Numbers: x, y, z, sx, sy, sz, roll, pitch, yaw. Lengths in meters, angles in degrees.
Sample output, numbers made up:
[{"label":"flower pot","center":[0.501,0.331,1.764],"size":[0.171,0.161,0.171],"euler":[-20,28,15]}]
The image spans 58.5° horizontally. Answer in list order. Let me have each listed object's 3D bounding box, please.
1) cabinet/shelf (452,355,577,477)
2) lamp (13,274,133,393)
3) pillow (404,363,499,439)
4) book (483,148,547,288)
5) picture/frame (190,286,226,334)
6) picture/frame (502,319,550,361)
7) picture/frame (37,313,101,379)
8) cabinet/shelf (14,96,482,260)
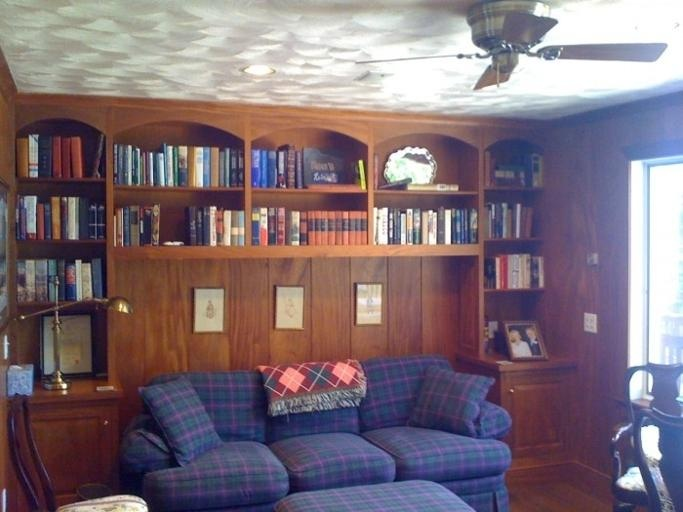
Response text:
[{"label":"cabinet/shelf","center":[1.580,1.252,5.453],"size":[1.121,1.383,0.880],"euler":[1,-2,-16]},{"label":"lamp","center":[-1.961,0.540,4.444],"size":[0.833,0.866,0.553],"euler":[-2,0,-17]},{"label":"pillow","center":[0.837,1.109,4.696],"size":[0.514,0.472,0.158],"euler":[5,-28,41]},{"label":"book","center":[1.489,-0.369,5.486],"size":[0.615,1.197,0.284],"euler":[-2,0,-23]},{"label":"picture/frame","center":[-1.092,0.432,4.924],"size":[0.386,0.526,0.042],"euler":[1,-1,-19]},{"label":"picture/frame","center":[1.584,0.733,5.281],"size":[0.364,0.379,0.039],"euler":[1,-32,-9]},{"label":"picture/frame","center":[-2.063,0.674,4.564],"size":[0.522,0.675,0.027],"euler":[0,-5,-20]},{"label":"cabinet/shelf","center":[-0.667,-0.574,4.865],"size":[3.503,1.248,0.651],"euler":[-2,0,-20]}]
